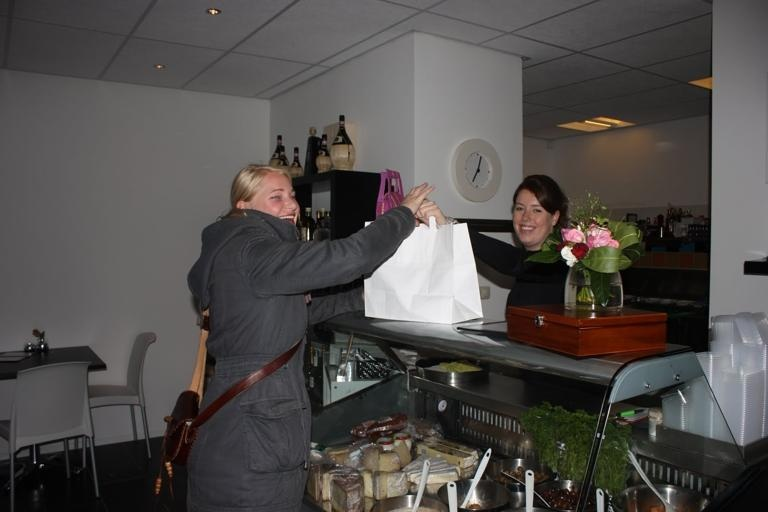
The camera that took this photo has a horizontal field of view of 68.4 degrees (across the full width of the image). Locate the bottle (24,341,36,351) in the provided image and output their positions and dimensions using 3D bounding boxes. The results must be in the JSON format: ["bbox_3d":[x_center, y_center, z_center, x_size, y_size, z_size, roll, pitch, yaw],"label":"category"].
[{"bbox_3d":[-2.913,0.744,4.650,0.069,0.066,0.065,2,-7,-14],"label":"bottle"}]

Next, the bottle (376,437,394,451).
[{"bbox_3d":[0.007,0.865,2.623,0.055,0.040,0.056,-1,-5,0],"label":"bottle"}]

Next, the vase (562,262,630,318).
[{"bbox_3d":[0.805,0.144,2.155,0.214,0.207,0.160,-2,0,31],"label":"vase"}]

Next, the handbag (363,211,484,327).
[{"bbox_3d":[0.145,0.069,2.381,0.495,0.478,0.179,2,8,34],"label":"handbag"}]

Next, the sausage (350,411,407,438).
[{"bbox_3d":[-0.021,0.817,2.725,0.197,0.064,0.132,-11,-4,-7],"label":"sausage"}]

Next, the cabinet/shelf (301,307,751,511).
[{"bbox_3d":[0.590,0.676,2.400,1.626,0.816,0.652,0,3,32],"label":"cabinet/shelf"}]

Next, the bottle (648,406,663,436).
[{"bbox_3d":[0.996,0.610,2.082,0.087,0.120,0.019,-4,3,-34],"label":"bottle"}]

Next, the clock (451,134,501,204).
[{"bbox_3d":[0.677,-0.665,4.299,0.554,0.534,0.072,-1,-1,-36],"label":"clock"}]

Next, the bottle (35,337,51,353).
[{"bbox_3d":[-2.834,0.735,4.714,0.114,0.124,0.116,-4,-10,21],"label":"bottle"}]

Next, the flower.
[{"bbox_3d":[0.825,-0.073,2.259,0.369,0.267,0.341,0,4,40],"label":"flower"}]
